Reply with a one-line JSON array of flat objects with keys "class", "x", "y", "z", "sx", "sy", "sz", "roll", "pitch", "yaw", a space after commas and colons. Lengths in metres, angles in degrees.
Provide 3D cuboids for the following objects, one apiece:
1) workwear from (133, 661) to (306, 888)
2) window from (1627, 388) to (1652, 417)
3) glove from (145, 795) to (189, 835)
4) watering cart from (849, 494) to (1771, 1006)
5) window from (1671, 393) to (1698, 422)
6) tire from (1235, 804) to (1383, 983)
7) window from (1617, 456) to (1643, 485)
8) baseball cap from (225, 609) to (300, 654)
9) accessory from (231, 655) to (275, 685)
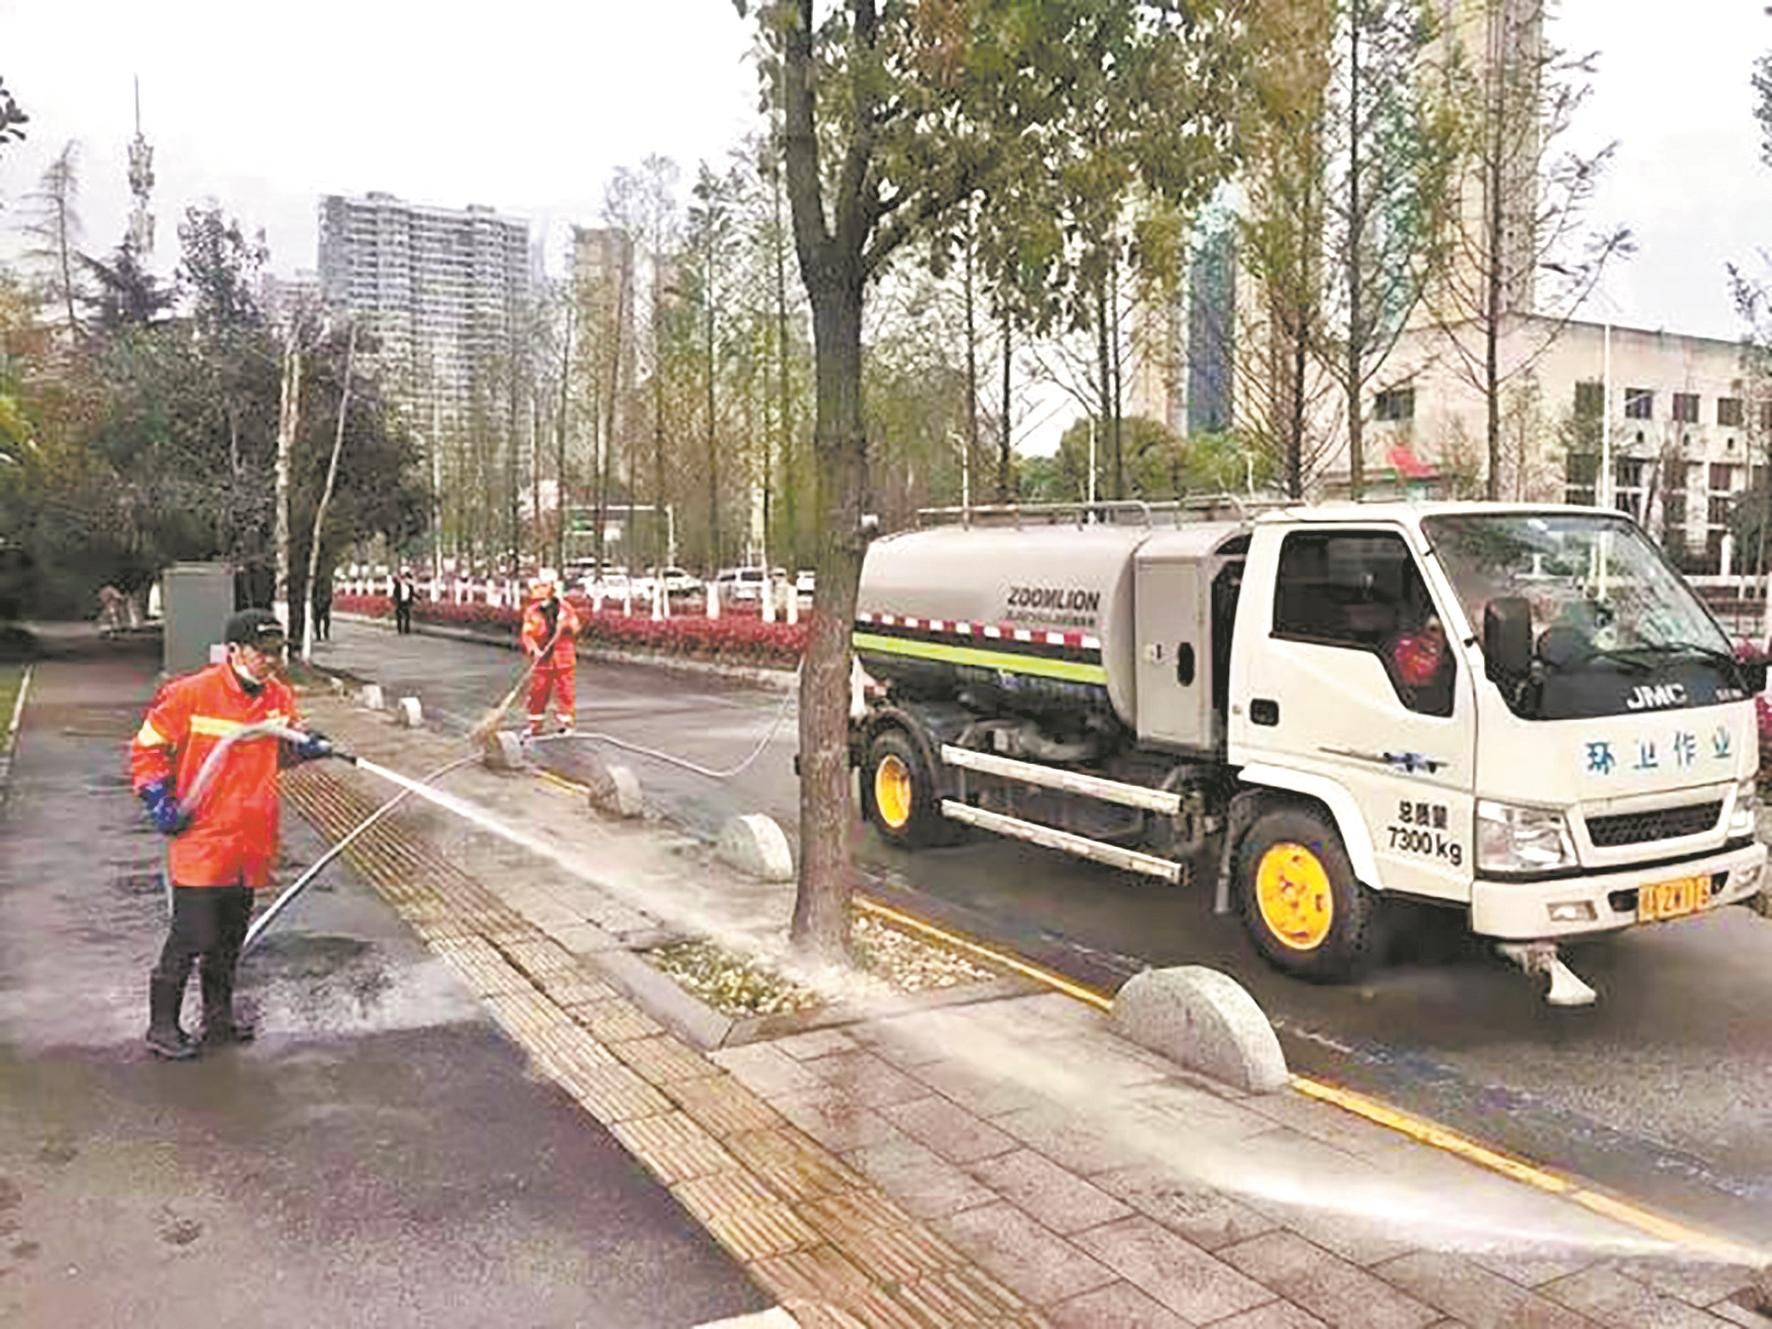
[{"class": "workwear", "x": -3.069, "y": 0.507, "z": 5.942, "sx": 0.358, "sy": 1.192, "sz": 0.799, "roll": 17, "pitch": 16, "yaw": 36}, {"class": "window", "x": 40.417, "y": -14.258, "z": 67.335, "sx": 1.491, "sy": 1.304, "sz": 0.210, "roll": -4, "pitch": 6, "yaw": -36}, {"class": "glove", "x": -3.269, "y": 0.706, "z": 5.696, "sx": 0.212, "sy": 0.221, "sz": 0.131, "roll": 3, "pitch": 6, "yaw": 30}, {"class": "watering cart", "x": 2.361, "y": 0.330, "z": 8.856, "sx": 3.079, "sy": 3.291, "sz": 6.203, "roll": -3, "pitch": 4, "yaw": -32}, {"class": "window", "x": 44.034, "y": -14.367, "z": 69.208, "sx": 1.744, "sy": 2.207, "sz": 0.209, "roll": 4, "pitch": -3, "yaw": -16}, {"class": "tire", "x": 2.354, "y": 1.300, "z": 7.007, "sx": 0.214, "sy": 0.971, "sz": 0.839, "roll": -3, "pitch": 6, "yaw": -35}, {"class": "window", "x": 37.873, "y": -10.025, "z": 63.935, "sx": 1.370, "sy": 1.696, "sz": 0.123, "roll": -5, "pitch": 10, "yaw": -23}, {"class": "baseball cap", "x": -3.010, "y": -0.167, "z": 5.933, "sx": 0.361, "sy": 0.257, "sz": 0.275, "roll": 4, "pitch": 4, "yaw": 6}, {"class": "accessory", "x": -2.958, "y": 0.042, "z": 5.848, "sx": 0.125, "sy": 0.150, "sz": 0.052, "roll": 15, "pitch": -34, "yaw": -3}]
